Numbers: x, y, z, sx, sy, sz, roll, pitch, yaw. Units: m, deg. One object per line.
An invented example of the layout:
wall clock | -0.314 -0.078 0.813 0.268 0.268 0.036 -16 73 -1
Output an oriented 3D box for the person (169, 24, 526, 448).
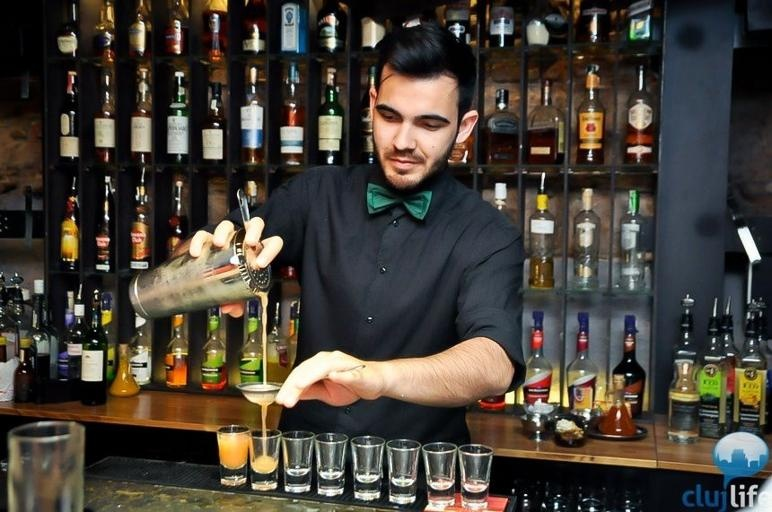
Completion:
person | -0.028 -0.068 2.808 1.095 1.130 0.901 1 -1 39
